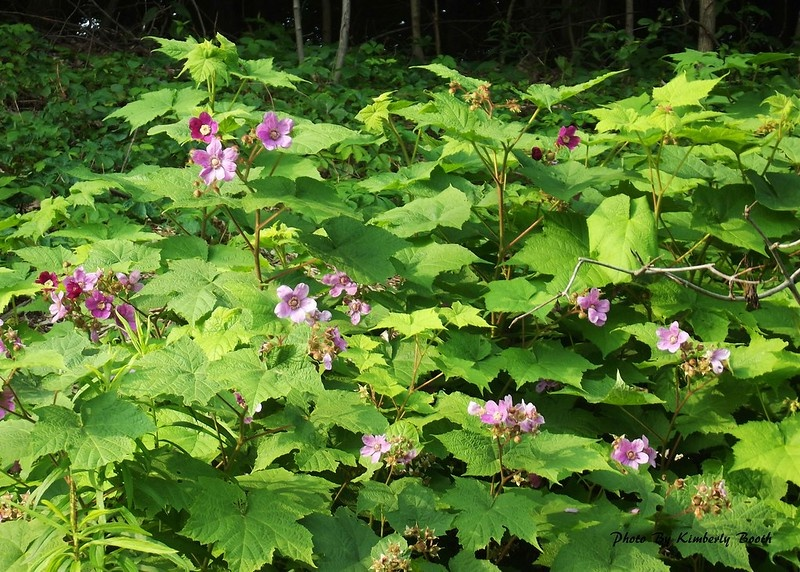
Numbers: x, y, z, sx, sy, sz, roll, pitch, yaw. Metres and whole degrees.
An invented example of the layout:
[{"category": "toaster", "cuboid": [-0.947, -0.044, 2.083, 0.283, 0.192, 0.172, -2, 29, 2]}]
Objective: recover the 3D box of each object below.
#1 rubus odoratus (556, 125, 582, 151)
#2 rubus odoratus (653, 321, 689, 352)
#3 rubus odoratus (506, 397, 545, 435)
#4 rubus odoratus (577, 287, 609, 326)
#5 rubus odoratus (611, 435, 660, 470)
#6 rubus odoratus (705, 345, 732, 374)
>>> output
[{"category": "rubus odoratus", "cuboid": [1.025, -0.913, 4.104, 0.141, 0.155, 0.279, 2, 16, 13]}, {"category": "rubus odoratus", "cuboid": [1.304, 0.248, 3.230, 0.161, 0.158, 0.078, -28, -16, 24]}, {"category": "rubus odoratus", "cuboid": [0.573, 0.618, 3.037, 0.075, 0.202, 0.224, 10, 20, 36]}, {"category": "rubus odoratus", "cuboid": [0.957, 0.094, 3.388, 0.180, 0.194, 0.114, -5, 17, -10]}, {"category": "rubus odoratus", "cuboid": [1.140, 0.826, 3.256, 0.244, 0.196, 0.108, -5, 17, -10]}, {"category": "rubus odoratus", "cuboid": [1.517, 0.354, 3.194, 0.135, 0.116, 0.069, -16, 21, -39]}]
